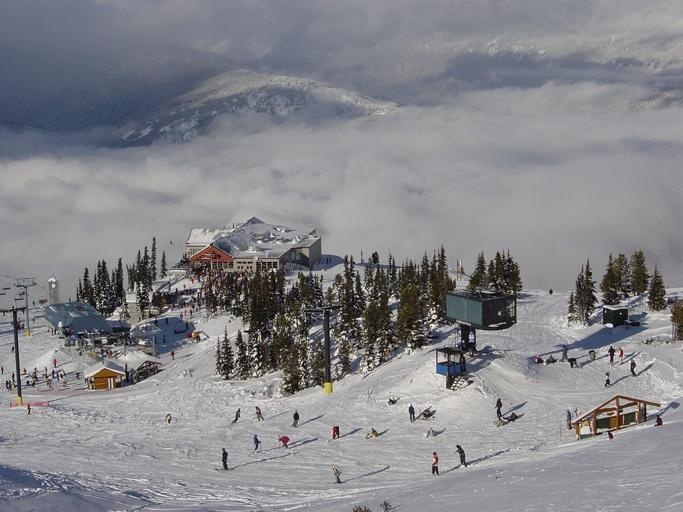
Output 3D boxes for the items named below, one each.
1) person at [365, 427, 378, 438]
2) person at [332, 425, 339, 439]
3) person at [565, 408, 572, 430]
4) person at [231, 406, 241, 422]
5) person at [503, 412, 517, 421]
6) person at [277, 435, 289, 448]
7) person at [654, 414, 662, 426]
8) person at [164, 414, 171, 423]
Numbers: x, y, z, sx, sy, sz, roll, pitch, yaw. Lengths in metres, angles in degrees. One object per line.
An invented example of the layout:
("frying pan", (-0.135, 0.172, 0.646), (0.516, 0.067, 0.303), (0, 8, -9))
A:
("person", (3.543, 19.566, 130.982), (1.466, 0.730, 2.078), (-6, 10, 0))
("person", (-0.569, 19.516, 132.074), (0.874, 1.276, 2.806), (-5, 10, 0))
("person", (25.000, 17.738, 127.573), (0.614, 2.051, 0.795), (-2, -6, -17))
("person", (-12.546, 19.330, 141.508), (1.082, 0.453, 2.581), (8, -35, -15))
("person", (18.911, 17.854, 130.470), (1.345, 0.667, 2.103), (3, 14, 41))
("person", (-6.415, 20.511, 130.328), (0.942, 1.193, 1.194), (9, 16, 3))
("person", (33.289, 17.200, 123.012), (1.000, 1.455, 0.923), (1, 1, 16))
("person", (-21.055, 19.827, 143.267), (0.414, 1.291, 0.512), (0, -6, 26))
